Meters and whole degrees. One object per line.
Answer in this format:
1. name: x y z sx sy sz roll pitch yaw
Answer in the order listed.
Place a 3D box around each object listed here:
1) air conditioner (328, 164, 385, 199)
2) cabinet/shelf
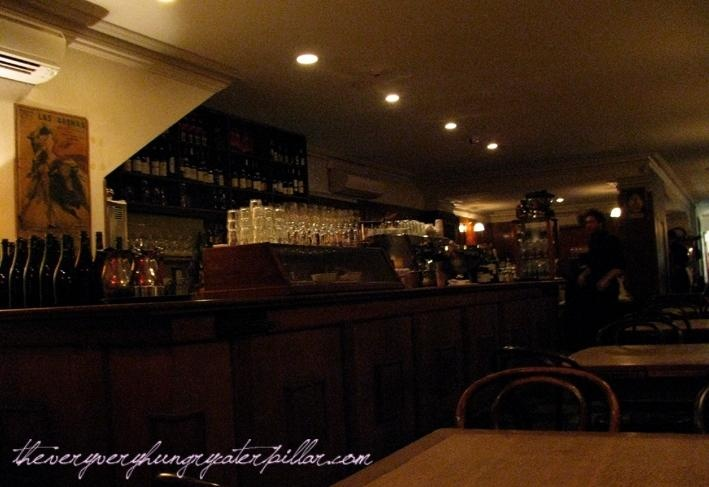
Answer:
1. air conditioner: 0.075 -0.892 8.901 0.306 0.369 1.412 1 0 25
2. cabinet/shelf: -1.415 -0.867 6.315 0.429 1.098 2.591 17 14 30
